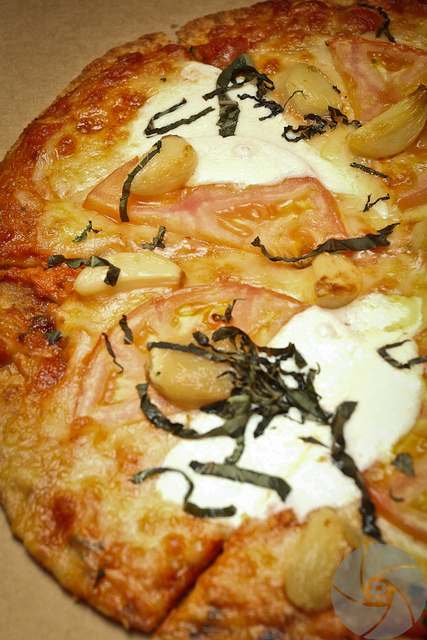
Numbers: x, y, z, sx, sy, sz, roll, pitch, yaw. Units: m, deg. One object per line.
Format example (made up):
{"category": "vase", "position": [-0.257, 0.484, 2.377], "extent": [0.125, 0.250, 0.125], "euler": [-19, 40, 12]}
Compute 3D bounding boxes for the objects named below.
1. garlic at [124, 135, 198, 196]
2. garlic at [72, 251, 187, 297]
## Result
{"category": "garlic", "position": [-0.106, -0.326, 1.349], "extent": [0.139, 0.096, 0.157], "euler": [15, 67, 15]}
{"category": "garlic", "position": [-0.165, -0.087, 1.236], "extent": [0.182, 0.034, 0.086], "euler": [-7, 61, -8]}
